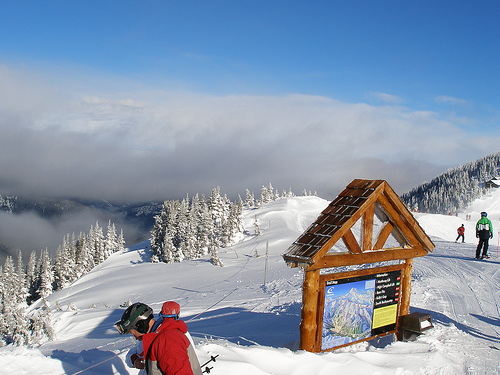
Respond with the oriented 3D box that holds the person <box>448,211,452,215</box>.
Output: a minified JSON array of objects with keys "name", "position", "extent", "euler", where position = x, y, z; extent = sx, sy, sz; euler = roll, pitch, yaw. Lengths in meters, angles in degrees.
[{"name":"person","position":[82.090,11.130,186.395],"extent":[0.664,0.773,2.872],"euler":[21,-7,18]}]

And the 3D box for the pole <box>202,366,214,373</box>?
[{"name":"pole","position":[-1.307,5.824,14.201],"extent":[0.320,0.181,0.180],"euler":[-27,-3,9]}]

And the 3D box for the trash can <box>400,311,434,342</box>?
[{"name":"trash can","position":[6.855,5.976,18.862],"extent":[1.059,1.253,1.128],"euler":[6,-1,-25]}]
